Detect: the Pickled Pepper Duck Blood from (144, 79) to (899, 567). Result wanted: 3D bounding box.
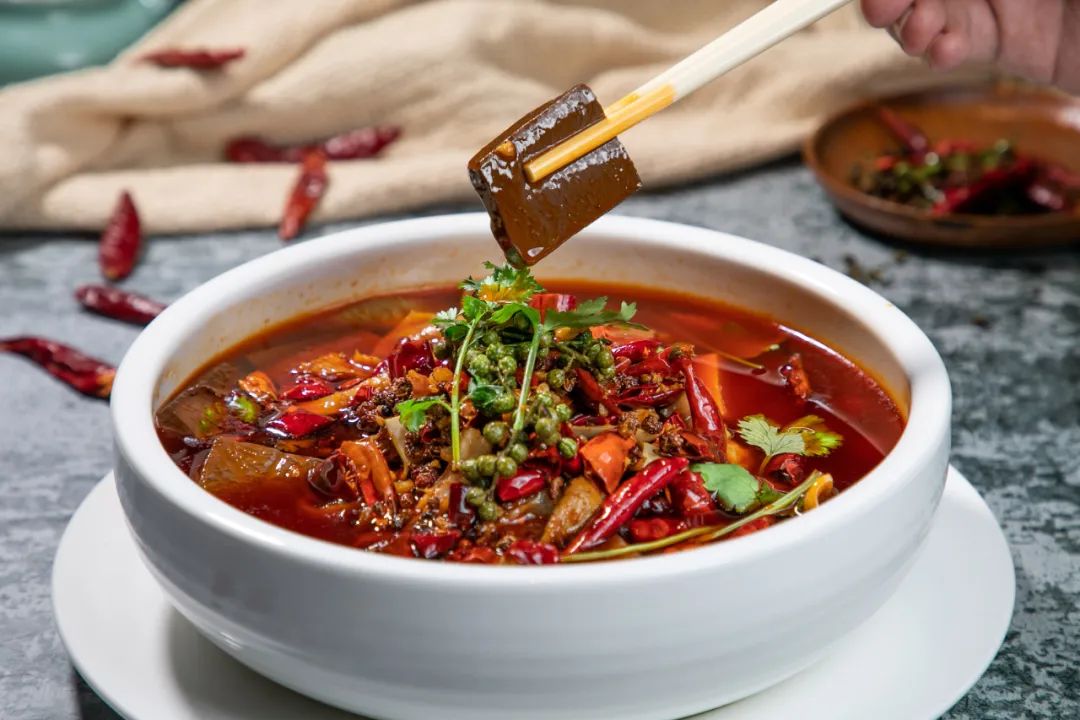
[{"bbox_3d":[-0.054,-0.179,2.070,1.475,0.449,1.308,-12,27,-24],"label":"Pickled Pepper Duck Blood"}]

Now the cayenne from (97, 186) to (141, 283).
[{"bbox_3d":[-1.860,-0.543,4.307,0.199,0.145,0.394,18,59,-26],"label":"cayenne"}]
